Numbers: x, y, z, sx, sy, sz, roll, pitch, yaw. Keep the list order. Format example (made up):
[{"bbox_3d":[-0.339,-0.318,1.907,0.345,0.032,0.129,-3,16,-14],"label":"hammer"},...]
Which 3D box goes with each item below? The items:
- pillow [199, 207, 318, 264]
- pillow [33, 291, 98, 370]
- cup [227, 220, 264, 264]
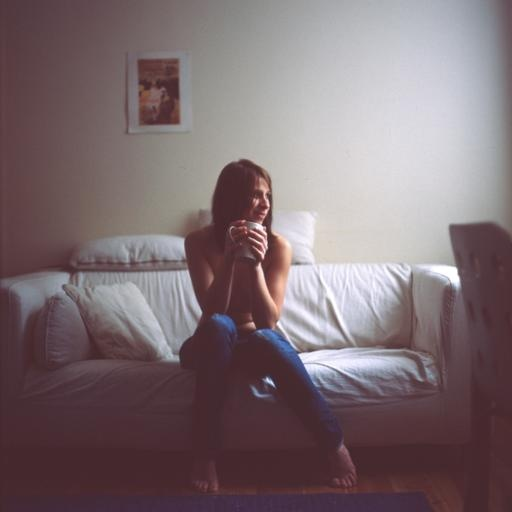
[{"bbox_3d":[0.046,-0.013,1.481,0.264,0.252,0.191,-1,-8,-1],"label":"pillow"},{"bbox_3d":[-0.503,0.184,1.198,0.128,0.173,0.059,-14,2,-21],"label":"pillow"},{"bbox_3d":[-0.017,-0.021,1.116,0.072,0.089,0.065,24,-7,3],"label":"cup"}]
